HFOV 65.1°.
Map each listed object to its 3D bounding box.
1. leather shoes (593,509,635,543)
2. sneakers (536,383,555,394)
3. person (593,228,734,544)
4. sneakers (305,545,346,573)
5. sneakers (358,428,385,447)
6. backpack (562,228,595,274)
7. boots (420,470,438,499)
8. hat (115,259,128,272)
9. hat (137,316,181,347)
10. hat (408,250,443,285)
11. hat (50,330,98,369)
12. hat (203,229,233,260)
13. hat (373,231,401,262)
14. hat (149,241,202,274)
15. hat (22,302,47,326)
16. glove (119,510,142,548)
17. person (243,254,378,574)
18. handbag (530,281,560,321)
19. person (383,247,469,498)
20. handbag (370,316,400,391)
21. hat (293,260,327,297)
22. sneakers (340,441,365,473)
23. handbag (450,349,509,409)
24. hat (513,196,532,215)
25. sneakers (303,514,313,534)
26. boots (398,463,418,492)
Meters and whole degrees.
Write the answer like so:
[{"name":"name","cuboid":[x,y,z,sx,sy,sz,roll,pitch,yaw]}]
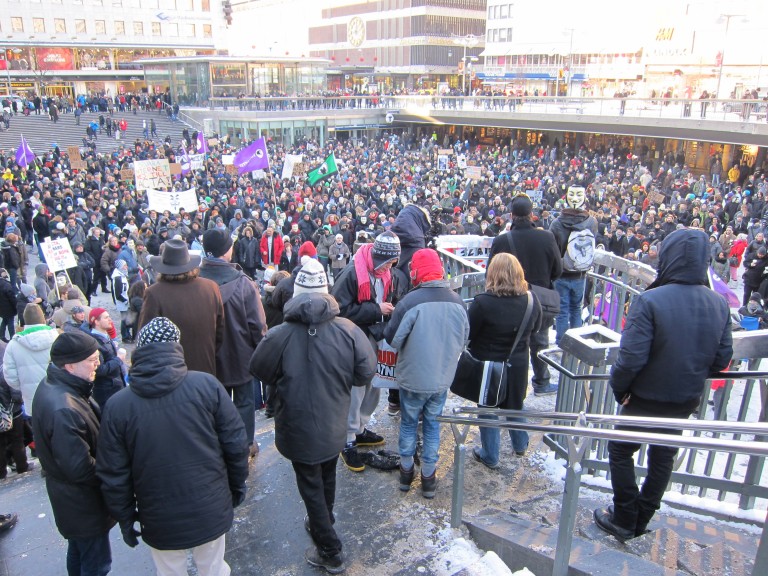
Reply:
[{"name":"leather shoes","cuboid":[1.803,1.832,4.698,0.108,0.149,0.307,-9,27,-22]},{"name":"sneakers","cuboid":[1.908,1.193,7.046,0.250,0.121,0.104,-3,6,-15]},{"name":"person","cuboid":[2.158,0.739,4.655,0.955,2.326,0.630,-10,18,-38]},{"name":"sneakers","cuboid":[-0.464,2.171,4.784,0.304,0.144,0.131,15,14,32]},{"name":"sneakers","cuboid":[-0.135,1.541,6.177,0.287,0.137,0.130,-2,10,-3]},{"name":"backpack","cuboid":[2.475,-0.434,7.481,0.362,0.561,0.290,0,-8,2]},{"name":"boots","cuboid":[0.413,1.768,5.426,0.097,0.183,0.246,1,24,5]},{"name":"hat","cuboid":[-4.907,-0.395,11.227,0.201,0.205,0.169,-3,22,13]},{"name":"hat","cuboid":[-1.626,0.321,4.315,0.244,0.259,0.194,15,10,-13]},{"name":"hat","cuboid":[0.425,-0.146,5.760,0.321,0.404,0.435,-1,-4,-21]},{"name":"hat","cuboid":[-2.392,0.449,4.584,0.350,0.268,0.362,-1,7,11]},{"name":"hat","cuboid":[-1.644,-0.430,5.889,0.234,0.214,0.276,-5,36,-9]},{"name":"hat","cuboid":[0.061,-0.387,5.704,0.197,0.308,0.274,-4,26,-22]},{"name":"hat","cuboid":[-1.944,-0.286,5.573,0.442,0.327,0.241,-4,15,-21]},{"name":"hat","cuboid":[-4.178,0.319,7.109,0.108,0.373,0.266,16,14,34]},{"name":"glove","cuboid":[-1.839,1.773,4.359,0.098,0.317,0.221,-3,11,-8]},{"name":"person","cuboid":[-0.603,1.096,4.973,0.868,2.112,0.780,6,15,19]},{"name":"handbag","cuboid":[1.602,0.173,6.028,0.289,0.314,0.460,11,17,33]},{"name":"person","cuboid":[0.377,0.887,5.502,0.594,1.892,0.618,12,18,38]},{"name":"handbag","cuboid":[0.047,0.618,6.034,0.330,0.808,0.250,10,-5,-10]},{"name":"hat","cuboid":[-0.625,-0.079,5.150,0.237,0.301,0.313,0,13,-18]},{"name":"sneakers","cuboid":[-0.303,1.637,5.906,0.149,0.172,0.398,-5,11,-26]},{"name":"handbag","cuboid":[0.890,0.836,5.571,0.493,0.464,0.219,11,3,36]},{"name":"hat","cuboid":[1.529,-0.896,6.619,0.154,0.182,0.220,0,1,6]},{"name":"sneakers","cuboid":[-0.627,2.023,5.110,0.077,0.100,0.224,3,-6,-18]},{"name":"boots","cuboid":[0.227,1.748,5.523,0.109,0.185,0.245,2,17,0]}]
